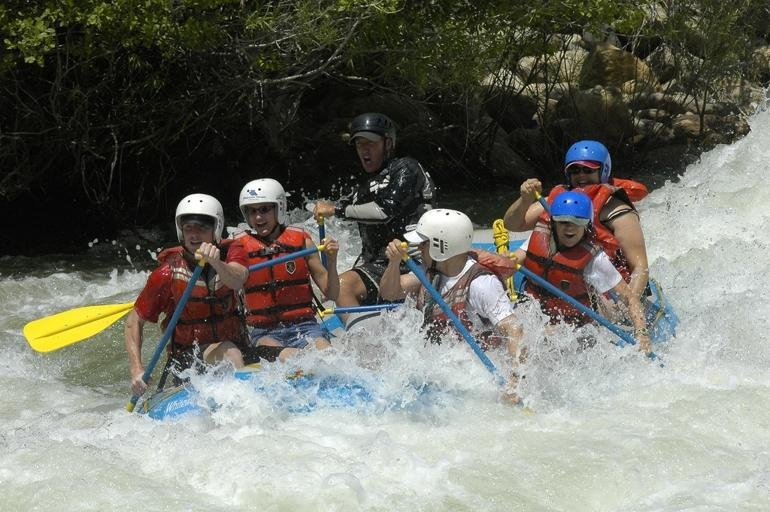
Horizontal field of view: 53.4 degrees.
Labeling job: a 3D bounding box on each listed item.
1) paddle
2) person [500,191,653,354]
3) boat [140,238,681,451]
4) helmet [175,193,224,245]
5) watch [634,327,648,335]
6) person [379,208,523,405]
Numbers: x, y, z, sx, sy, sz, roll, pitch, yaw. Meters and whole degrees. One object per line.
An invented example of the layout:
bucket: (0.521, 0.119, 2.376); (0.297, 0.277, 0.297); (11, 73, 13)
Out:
paddle: (-2.284, 0.386, 8.315); (3.327, 0.486, 0.128); (-18, 29, -2)
person: (1.940, 0.201, 7.694); (1.268, 1.318, 0.393); (22, 32, 37)
boat: (0.238, 0.966, 7.216); (4.098, 0.743, 2.375); (-6, 26, -7)
helmet: (-1.742, -0.383, 7.322); (0.372, 0.391, 0.488); (-3, -3, 6)
watch: (2.523, 0.739, 7.523); (0.048, 0.065, 0.092); (26, -18, -36)
person: (0.649, 0.422, 7.155); (1.311, 1.736, 0.555); (0, 10, 17)
